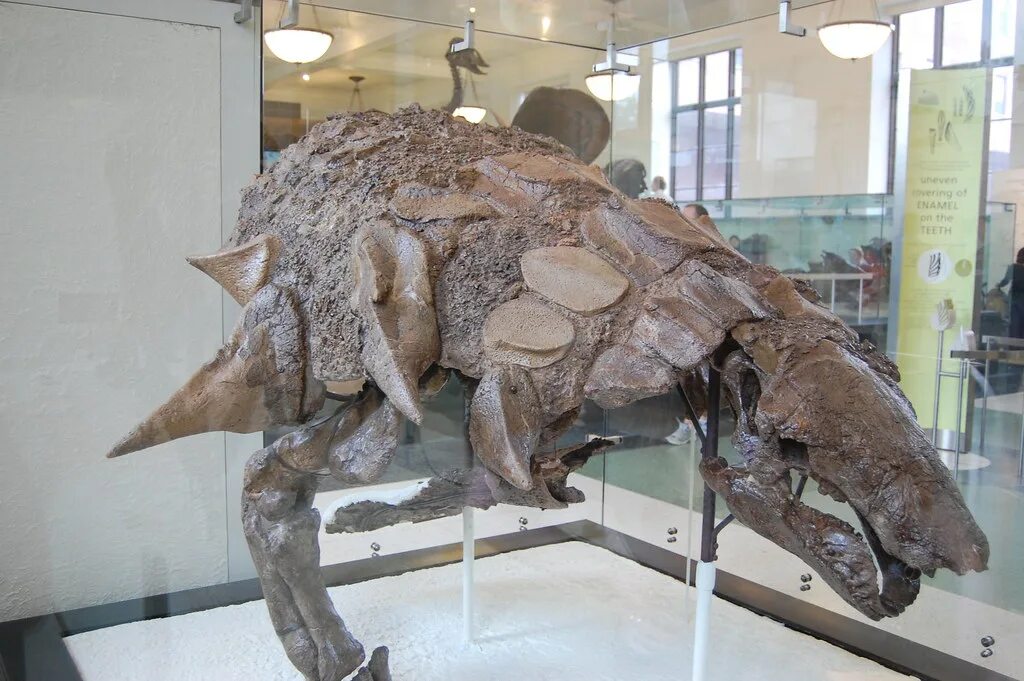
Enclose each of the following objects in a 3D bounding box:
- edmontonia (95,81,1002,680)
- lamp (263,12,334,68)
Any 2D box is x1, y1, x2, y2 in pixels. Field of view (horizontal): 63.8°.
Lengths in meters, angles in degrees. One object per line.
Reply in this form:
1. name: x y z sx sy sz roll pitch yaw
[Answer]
1. edmontonia: 0.084 0.044 3.286 3.219 1.605 1.902 9 29 21
2. lamp: -0.927 -1.284 3.577 0.315 0.155 0.105 5 14 22
